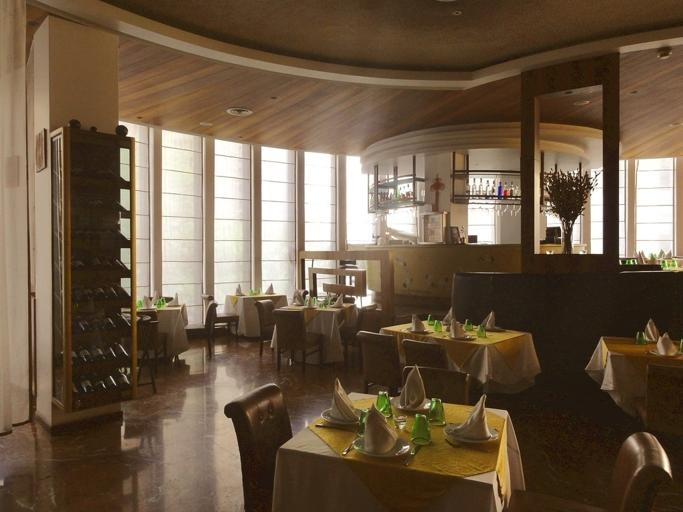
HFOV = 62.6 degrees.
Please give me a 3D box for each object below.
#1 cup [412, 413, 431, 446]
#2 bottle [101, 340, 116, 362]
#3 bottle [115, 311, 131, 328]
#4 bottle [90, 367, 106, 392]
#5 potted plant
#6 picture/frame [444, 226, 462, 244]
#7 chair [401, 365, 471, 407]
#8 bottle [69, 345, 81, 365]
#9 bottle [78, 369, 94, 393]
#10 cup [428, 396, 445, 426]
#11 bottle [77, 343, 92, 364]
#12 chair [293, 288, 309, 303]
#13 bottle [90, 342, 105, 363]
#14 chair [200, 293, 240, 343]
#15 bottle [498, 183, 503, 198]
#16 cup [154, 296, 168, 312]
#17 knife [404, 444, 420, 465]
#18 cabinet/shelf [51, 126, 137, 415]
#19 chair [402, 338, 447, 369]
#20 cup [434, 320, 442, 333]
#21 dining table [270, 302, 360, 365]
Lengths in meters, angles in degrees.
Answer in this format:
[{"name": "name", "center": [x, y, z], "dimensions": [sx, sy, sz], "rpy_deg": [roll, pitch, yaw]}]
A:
[{"name": "cup", "center": [0.579, 1.284, 4.204], "dimensions": [0.174, 0.256, 0.181], "rpy_deg": [-1, -1, 0]}, {"name": "bottle", "center": [-2.593, 1.047, 6.247], "dimensions": [0.107, 0.225, 0.053], "rpy_deg": [-32, 14, -24]}, {"name": "bottle", "center": [-2.447, 0.710, 6.316], "dimensions": [0.142, 0.175, 0.164], "rpy_deg": [-1, -9, -20]}, {"name": "bottle", "center": [-2.695, 1.372, 6.209], "dimensions": [0.060, 0.251, 0.184], "rpy_deg": [-36, -6, 25]}, {"name": "potted plant", "center": [2.941, -0.590, 7.361], "dimensions": [0.614, 0.922, 0.663], "rpy_deg": [7, -11, -40]}, {"name": "picture/frame", "center": [2.190, -0.446, 10.926], "dimensions": [0.383, 0.325, 1.396], "rpy_deg": [2, 3, 12]}, {"name": "chair", "center": [0.852, 1.085, 4.999], "dimensions": [0.427, 0.578, 0.401], "rpy_deg": [1, 0, 33]}, {"name": "bottle", "center": [-2.860, 1.066, 6.065], "dimensions": [0.091, 0.163, 0.159], "rpy_deg": [-10, -1, -21]}, {"name": "bottle", "center": [-2.791, 1.356, 6.133], "dimensions": [0.060, 0.232, 0.127], "rpy_deg": [-39, -8, 25]}, {"name": "cup", "center": [0.732, 1.210, 4.406], "dimensions": [0.159, 0.247, 0.162], "rpy_deg": [1, -1, 0]}, {"name": "bottle", "center": [-2.798, 1.046, 6.136], "dimensions": [0.159, 0.299, 0.170], "rpy_deg": [-3, 3, 0]}, {"name": "chair", "center": [-0.702, 0.680, 9.711], "dimensions": [0.260, 0.326, 0.265], "rpy_deg": [0, -14, 0]}, {"name": "bottle", "center": [-2.686, 1.056, 6.192], "dimensions": [0.064, 0.211, 0.126], "rpy_deg": [-8, 5, 43]}, {"name": "chair", "center": [-2.116, 1.072, 9.906], "dimensions": [0.788, 1.160, 0.681], "rpy_deg": [-1, 1, -16]}, {"name": "bottle", "center": [3.148, -1.301, 11.087], "dimensions": [0.104, 0.300, 0.614], "rpy_deg": [2, 4, 15]}, {"name": "cup", "center": [-2.872, 0.735, 8.923], "dimensions": [0.163, 0.100, 0.202], "rpy_deg": [3, 10, -13]}, {"name": "knife", "center": [0.505, 1.398, 3.972], "dimensions": [0.042, 0.015, 0.258], "rpy_deg": [2, 11, 22]}, {"name": "cabinet/shelf", "center": [-2.651, 0.130, 6.168], "dimensions": [0.767, 3.039, 0.226], "rpy_deg": [-2, 5, -34]}, {"name": "chair", "center": [0.860, 1.013, 5.872], "dimensions": [0.324, 0.439, 0.357], "rpy_deg": [0, 0, 40]}, {"name": "cup", "center": [1.166, 0.852, 6.877], "dimensions": [0.108, 0.190, 0.113], "rpy_deg": [-1, 1, 0]}, {"name": "dining table", "center": [-0.270, 1.077, 8.533], "dimensions": [0.973, 0.595, 0.999], "rpy_deg": [-2, -5, 26]}]
